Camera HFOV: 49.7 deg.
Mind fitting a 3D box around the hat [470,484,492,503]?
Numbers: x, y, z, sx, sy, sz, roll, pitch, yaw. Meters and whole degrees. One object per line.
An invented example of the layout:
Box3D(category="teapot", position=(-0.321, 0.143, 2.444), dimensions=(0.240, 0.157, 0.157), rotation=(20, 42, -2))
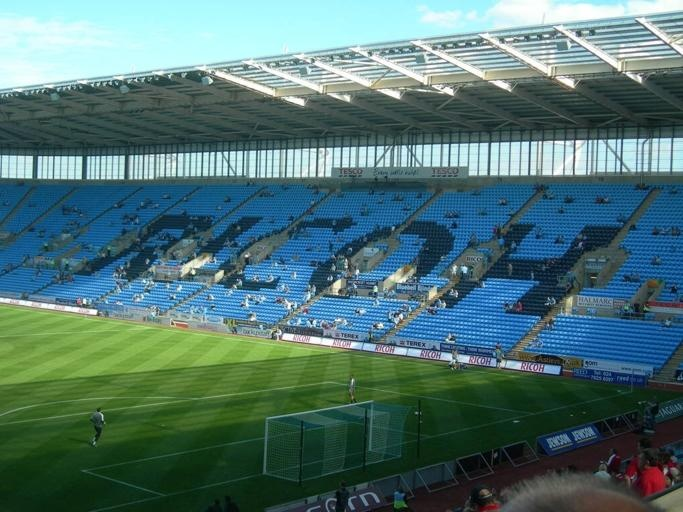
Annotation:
Box3D(category="hat", position=(2.931, 5.044, 15.773), dimensions=(0.509, 0.305, 0.384), rotation=(0, -3, 36))
